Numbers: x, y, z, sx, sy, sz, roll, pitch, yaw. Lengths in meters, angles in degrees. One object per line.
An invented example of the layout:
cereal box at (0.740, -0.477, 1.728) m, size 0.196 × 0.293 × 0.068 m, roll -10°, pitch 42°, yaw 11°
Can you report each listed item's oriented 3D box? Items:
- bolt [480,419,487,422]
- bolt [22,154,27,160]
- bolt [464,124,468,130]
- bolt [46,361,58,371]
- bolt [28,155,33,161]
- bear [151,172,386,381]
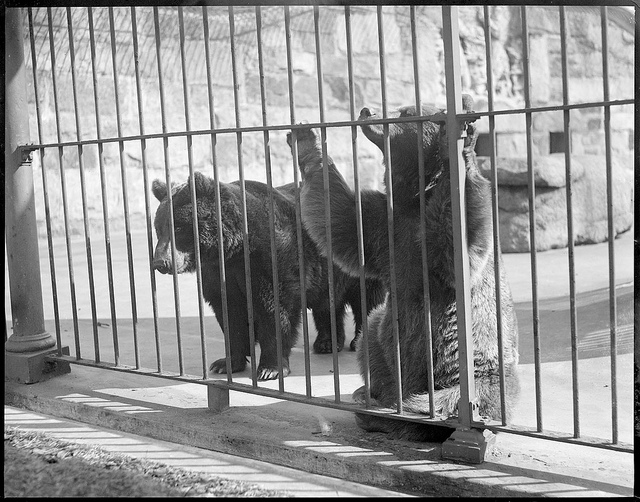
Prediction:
bolt at (1.347, 1.393, 11.081) m, size 0.036 × 0.014 × 0.062 m, roll 1°, pitch 0°, yaw 44°
bolt at (-2.735, -0.892, 12.402) m, size 0.063 × 0.057 × 0.015 m, roll 1°, pitch -4°, yaw -8°
bolt at (1.199, -1.035, 11.049) m, size 0.009 × 0.035 × 0.040 m, roll 6°, pitch 6°, yaw 34°
bolt at (-2.499, 1.061, 12.510) m, size 0.029 × 0.075 × 0.119 m, roll 1°, pitch 0°, yaw 37°
bolt at (-2.681, -0.882, 12.438) m, size 0.027 × 0.047 × 0.062 m, roll 1°, pitch 0°, yaw 18°
bear at (-0.423, 0.178, 13.059) m, size 2.981 × 1.969 × 1.297 m, roll -4°, pitch -1°, yaw -44°
